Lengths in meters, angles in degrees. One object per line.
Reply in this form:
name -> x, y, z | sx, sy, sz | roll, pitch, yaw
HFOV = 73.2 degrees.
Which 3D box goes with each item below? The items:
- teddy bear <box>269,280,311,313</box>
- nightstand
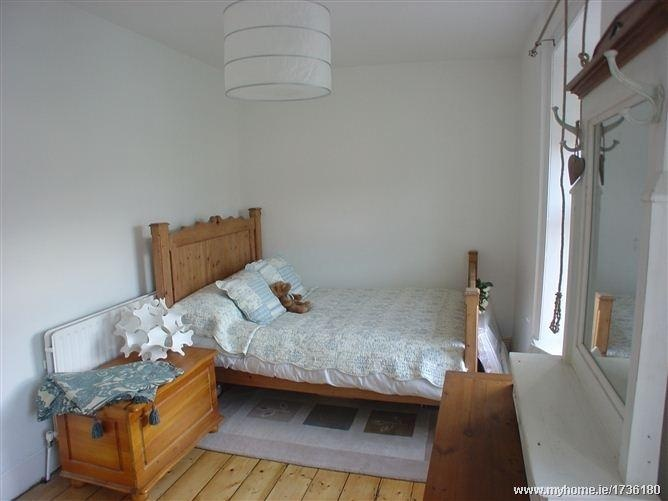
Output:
teddy bear -> -0.365, 0.402, 3.800 | 0.276, 0.320, 0.232 | -15, 0, -8
nightstand -> -1.174, 1.013, 2.787 | 0.612, 0.601, 0.795 | 2, 13, 18
